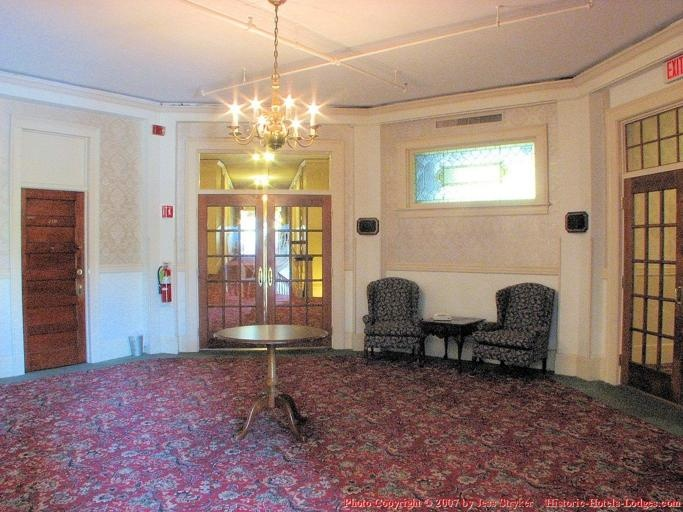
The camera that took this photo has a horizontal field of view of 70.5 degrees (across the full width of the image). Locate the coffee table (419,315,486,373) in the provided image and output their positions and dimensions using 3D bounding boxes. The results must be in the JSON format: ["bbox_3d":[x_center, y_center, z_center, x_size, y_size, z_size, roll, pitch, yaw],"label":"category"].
[{"bbox_3d":[1.669,1.220,7.004,0.816,0.669,0.801,0,-1,33],"label":"coffee table"}]

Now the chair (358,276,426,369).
[{"bbox_3d":[0.787,0.956,7.299,0.887,1.209,0.969,0,3,5],"label":"chair"}]

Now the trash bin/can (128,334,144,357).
[{"bbox_3d":[-3.183,1.398,7.503,0.309,0.322,0.303,5,-8,-37],"label":"trash bin/can"}]

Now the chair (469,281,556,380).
[{"bbox_3d":[2.301,0.971,6.527,0.866,1.157,0.757,2,4,34],"label":"chair"}]

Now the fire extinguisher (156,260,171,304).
[{"bbox_3d":[-2.786,0.436,7.635,0.211,0.652,0.143,-3,4,-35],"label":"fire extinguisher"}]
